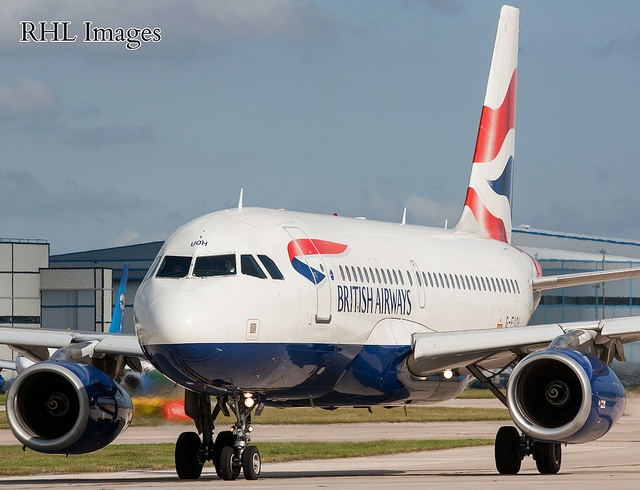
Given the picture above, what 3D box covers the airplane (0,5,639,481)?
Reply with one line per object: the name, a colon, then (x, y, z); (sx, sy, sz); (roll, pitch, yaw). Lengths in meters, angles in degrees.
airplane: (1.202, 1.727, 25.388); (13.757, 6.575, 10.722); (-4, -10, 32)
